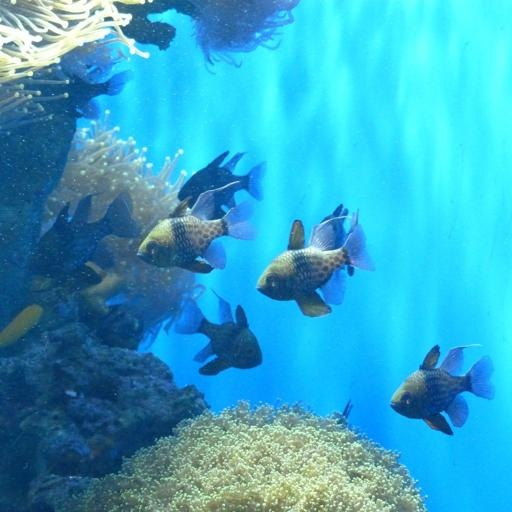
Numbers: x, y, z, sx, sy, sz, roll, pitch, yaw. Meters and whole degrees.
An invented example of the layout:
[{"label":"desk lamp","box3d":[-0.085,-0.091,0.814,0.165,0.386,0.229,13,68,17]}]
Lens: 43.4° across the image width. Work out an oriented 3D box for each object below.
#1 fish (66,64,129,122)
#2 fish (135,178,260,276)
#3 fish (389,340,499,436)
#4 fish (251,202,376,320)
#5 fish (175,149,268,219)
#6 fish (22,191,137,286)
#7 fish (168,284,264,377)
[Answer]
[{"label":"fish","box3d":[-1.217,-1.226,4.914,0.174,0.418,0.608,21,23,17]},{"label":"fish","box3d":[-0.403,-0.158,4.446,0.907,0.551,0.172,-18,19,-31]},{"label":"fish","box3d":[1.233,0.902,4.328,0.742,0.565,0.156,-7,-1,-12]},{"label":"fish","box3d":[0.400,0.058,4.275,0.771,0.662,0.404,-9,31,-45]},{"label":"fish","box3d":[-0.264,-0.557,4.993,0.699,0.533,0.132,-9,26,-25]},{"label":"fish","box3d":[-1.244,-0.120,4.690,0.916,0.522,0.176,-20,-1,29]},{"label":"fish","box3d":[-0.285,0.623,5.069,0.764,0.582,0.301,20,9,28]}]
